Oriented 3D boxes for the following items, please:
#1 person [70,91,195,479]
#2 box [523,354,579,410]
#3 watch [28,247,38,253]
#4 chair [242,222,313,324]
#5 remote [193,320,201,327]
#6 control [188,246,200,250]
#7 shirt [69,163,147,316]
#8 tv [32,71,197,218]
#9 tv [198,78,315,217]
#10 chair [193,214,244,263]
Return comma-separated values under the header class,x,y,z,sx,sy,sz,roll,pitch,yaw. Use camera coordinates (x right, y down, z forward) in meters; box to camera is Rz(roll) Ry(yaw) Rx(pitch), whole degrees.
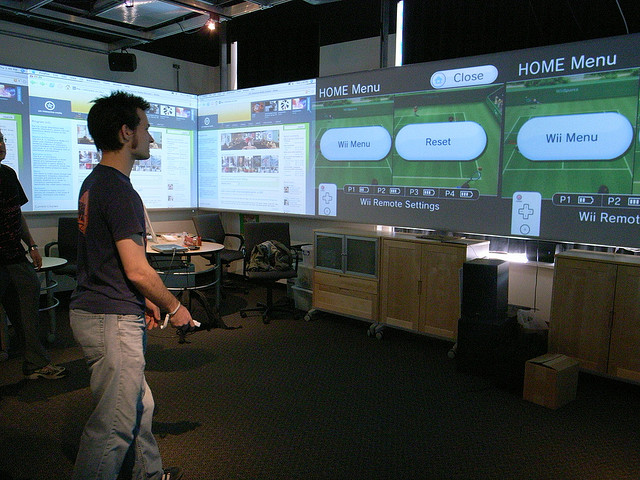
class,x,y,z,sx,sy,sz,roll,pitch,yaw
person,-1.129,0.331,2.765,0.637,2.246,0.575,-7,16,-26
box,1.942,1.207,4.068,0.478,0.360,0.409,7,-2,-39
watch,-2.488,0.082,4.284,0.071,0.044,0.117,-9,17,-33
chair,-0.508,0.366,5.750,0.822,1.067,0.701,-3,15,-13
remote,-0.698,0.473,2.814,0.055,0.013,0.039,13,-23,46
control,-1.284,0.083,5.064,0.081,0.036,0.134,1,14,2
shirt,-1.176,0.008,2.723,0.418,0.813,0.273,-1,15,-7
tv,-2.583,-1.205,6.397,2.400,1.734,0.023,-4,-4,-40
tv,-0.920,-1.200,6.540,2.040,1.615,0.031,3,7,28
chair,-1.278,0.113,6.375,0.594,0.793,0.573,13,15,36
